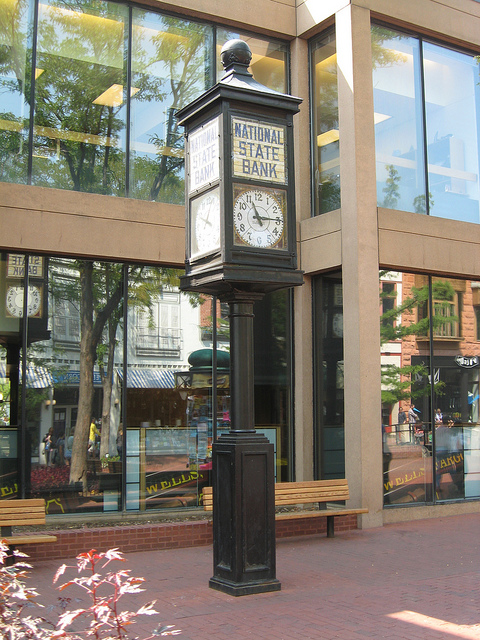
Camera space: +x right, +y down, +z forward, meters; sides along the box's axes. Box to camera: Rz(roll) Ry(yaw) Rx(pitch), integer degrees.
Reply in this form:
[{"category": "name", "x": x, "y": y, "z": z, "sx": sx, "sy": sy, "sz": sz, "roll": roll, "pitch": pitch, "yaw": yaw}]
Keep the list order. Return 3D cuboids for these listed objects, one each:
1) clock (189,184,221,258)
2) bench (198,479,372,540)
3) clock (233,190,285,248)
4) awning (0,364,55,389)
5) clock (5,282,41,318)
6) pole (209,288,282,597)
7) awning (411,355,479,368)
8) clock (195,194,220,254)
[{"category": "clock", "x": -0.286, "y": -0.878, "z": 7.382, "sx": 0.031, "sy": 0.550, "sz": 0.551, "roll": 16, "pitch": 28, "yaw": 30}, {"category": "bench", "x": 0.894, "y": 2.332, "z": 9.960, "sx": 0.573, "sy": 0.688, "sz": 1.795, "roll": 5, "pitch": -5, "yaw": 40}, {"category": "clock", "x": 0.163, "y": -0.889, "z": 7.213, "sx": 0.592, "sy": 0.592, "sz": 0.035, "roll": 4, "pitch": -9, "yaw": -31}, {"category": "awning", "x": -2.687, "y": 0.707, "z": 10.451, "sx": 0.685, "sy": 0.313, "sz": 0.113, "roll": 3, "pitch": -7, "yaw": -40}, {"category": "clock", "x": -2.764, "y": -0.270, "z": 10.569, "sx": 0.418, "sy": 0.419, "sz": 0.410, "roll": 9, "pitch": 0, "yaw": -39}, {"category": "pole", "x": 0.006, "y": 1.034, "z": 7.192, "sx": 0.613, "sy": 2.613, "sz": 0.447, "roll": -2, "pitch": -6, "yaw": 0}, {"category": "awning", "x": 3.119, "y": 0.626, "z": 12.705, "sx": 1.398, "sy": 0.198, "sz": 0.170, "roll": 3, "pitch": -7, "yaw": -41}, {"category": "clock", "x": -0.281, "y": -0.846, "z": 7.290, "sx": 0.047, "sy": 0.540, "sz": 0.531, "roll": 2, "pitch": -5, "yaw": -24}]
